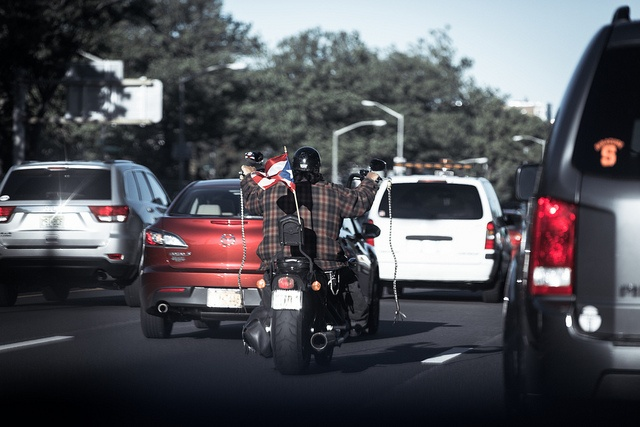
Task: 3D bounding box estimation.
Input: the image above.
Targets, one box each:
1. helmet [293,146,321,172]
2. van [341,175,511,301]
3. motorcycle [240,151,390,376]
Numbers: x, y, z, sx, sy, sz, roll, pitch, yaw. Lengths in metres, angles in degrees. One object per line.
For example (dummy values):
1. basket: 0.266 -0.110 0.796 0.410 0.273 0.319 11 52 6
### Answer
1. helmet: -0.114 -0.599 7.121 0.249 0.275 0.291 6 14 8
2. van: 2.424 0.379 12.754 1.856 1.551 3.288 0 4 14
3. motorcycle: 0.236 0.451 7.940 1.310 1.672 2.688 1 2 9
